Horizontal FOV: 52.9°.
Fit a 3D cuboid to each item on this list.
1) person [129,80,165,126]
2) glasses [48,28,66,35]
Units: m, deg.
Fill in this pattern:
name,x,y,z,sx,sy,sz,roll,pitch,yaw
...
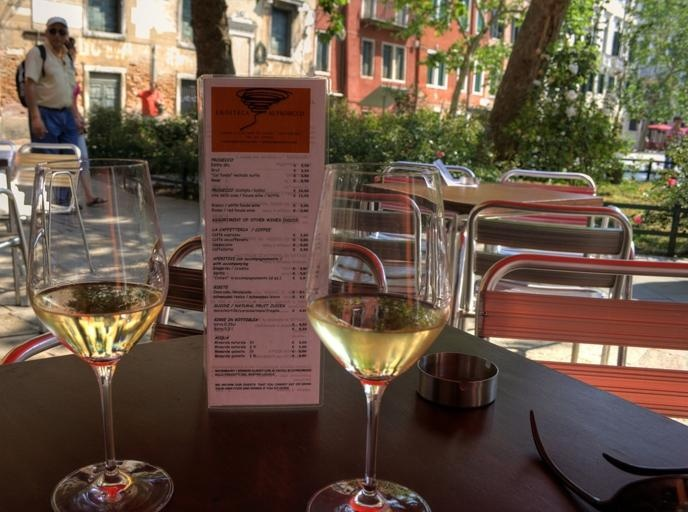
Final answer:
name,x,y,z,sx,sy,sz,roll,pitch,yaw
person,-4.655,-3.737,16.531,0.595,0.823,0.851,-1,15,-16
glasses,-2.638,-2.052,6.372,0.074,0.052,0.180,9,16,22
